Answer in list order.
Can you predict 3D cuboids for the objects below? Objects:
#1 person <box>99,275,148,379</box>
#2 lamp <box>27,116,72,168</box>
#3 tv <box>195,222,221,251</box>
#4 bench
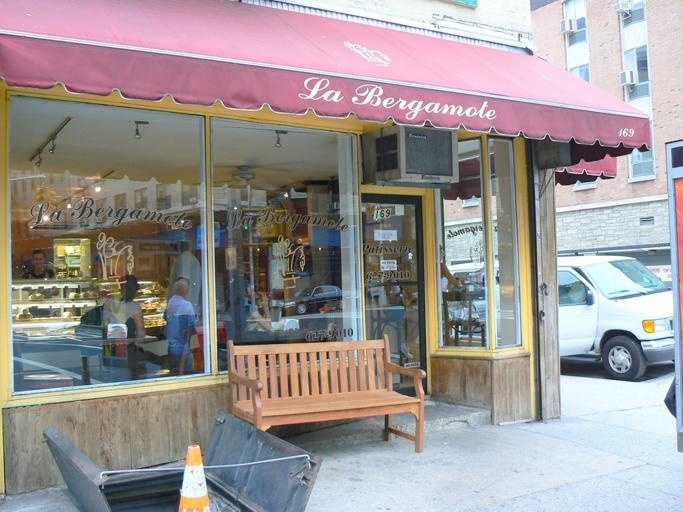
[{"bbox_3d":[-2.272,0.732,7.082,0.435,1.023,0.444,4,-1,-41],"label":"person"},{"bbox_3d":[-2.877,-1.141,6.792,0.222,0.691,0.179,29,-19,20],"label":"lamp"},{"bbox_3d":[-1.477,-0.209,7.360,0.307,0.341,0.034,2,-7,-27],"label":"tv"},{"bbox_3d":[-0.185,1.522,7.365,2.062,1.249,0.991,-1,2,-23],"label":"bench"}]
